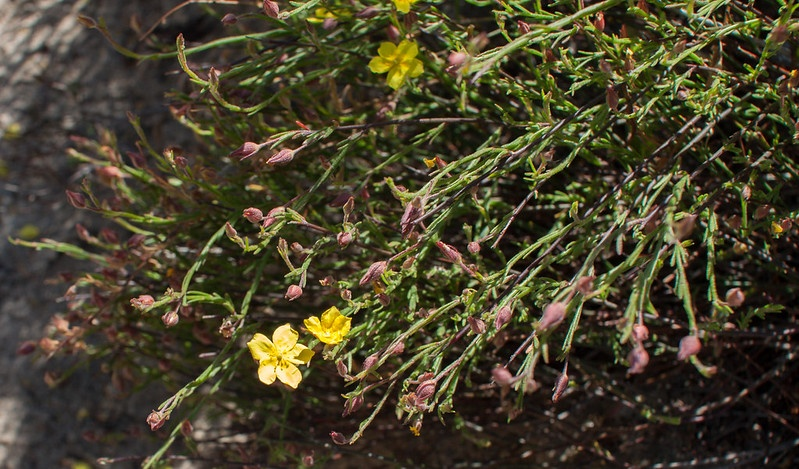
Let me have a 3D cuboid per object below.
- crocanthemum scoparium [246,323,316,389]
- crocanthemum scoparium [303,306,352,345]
[{"bbox_3d":[-0.290,0.301,1.759,0.179,0.163,0.061,138,147,-78],"label":"crocanthemum scoparium"},{"bbox_3d":[-0.180,0.234,1.694,0.095,0.047,0.116,19,31,36],"label":"crocanthemum scoparium"}]
